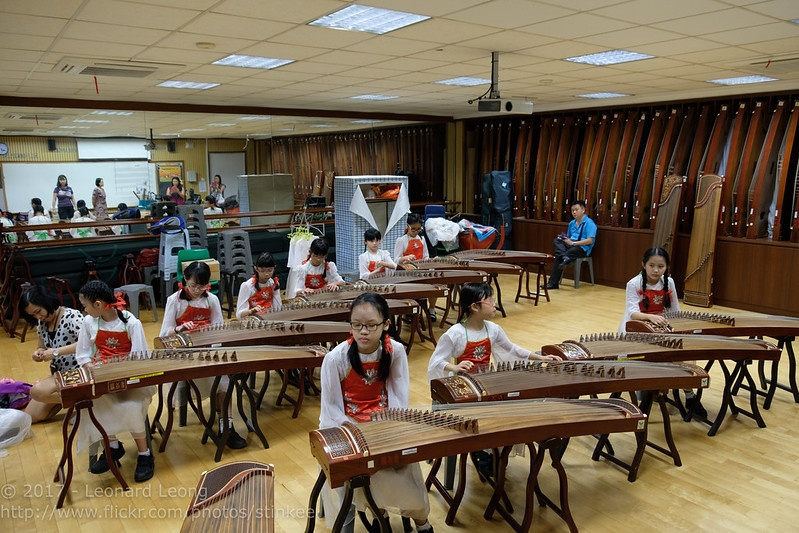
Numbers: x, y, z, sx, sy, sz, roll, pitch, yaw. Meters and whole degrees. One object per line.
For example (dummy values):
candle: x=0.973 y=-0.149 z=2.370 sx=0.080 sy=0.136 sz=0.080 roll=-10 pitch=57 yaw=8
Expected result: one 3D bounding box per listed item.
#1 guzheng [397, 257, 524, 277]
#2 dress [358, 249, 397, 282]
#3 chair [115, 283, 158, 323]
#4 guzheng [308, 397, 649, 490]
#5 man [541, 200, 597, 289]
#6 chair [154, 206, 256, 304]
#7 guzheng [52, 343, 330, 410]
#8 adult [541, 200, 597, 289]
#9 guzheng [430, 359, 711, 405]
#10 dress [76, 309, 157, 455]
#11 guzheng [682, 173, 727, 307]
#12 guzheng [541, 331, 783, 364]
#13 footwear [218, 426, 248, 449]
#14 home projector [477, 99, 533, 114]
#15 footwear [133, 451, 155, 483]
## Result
guzheng: x=0.952 y=-0.008 z=7.427 sx=1.014 sy=0.152 sz=0.576 roll=4 pitch=5 yaw=11
dress: x=-0.340 y=-0.036 z=6.924 sx=0.547 sy=0.536 sz=0.364 roll=-6 pitch=5 yaw=-34
chair: x=-3.489 y=0.475 z=6.959 sx=0.454 sy=0.473 sz=0.447 roll=-12 pitch=18 yaw=-42
guzheng: x=0.554 y=1.269 z=3.780 sx=2.479 sy=0.375 sz=0.486 roll=-6 pitch=30 yaw=-18
man: x=2.967 y=-0.368 z=9.168 sx=0.816 sy=1.510 sz=0.453 roll=-1 pitch=11 yaw=7
chair: x=-2.888 y=-0.163 z=7.622 sx=0.558 sy=1.017 sz=1.503 roll=-3 pitch=11 yaw=-39
guzheng: x=-1.744 y=0.856 z=4.425 sx=1.944 sy=0.282 sz=0.334 roll=-5 pitch=11 yaw=-17
adult: x=2.971 y=-0.369 z=9.170 sx=0.805 sy=1.510 sz=0.462 roll=0 pitch=11 yaw=8
guzheng: x=1.263 y=0.887 z=4.137 sx=1.558 sy=0.199 sz=0.376 roll=-4 pitch=10 yaw=-12
dress: x=-2.502 y=0.956 z=4.526 sx=0.689 sy=0.958 sz=0.642 roll=30 pitch=27 yaw=30
guzheng: x=4.549 y=-0.335 z=8.019 sx=0.495 sy=2.019 sz=0.156 roll=4 pitch=1 yaw=-17
guzheng: x=2.391 y=0.720 z=4.710 sx=1.616 sy=0.237 sz=0.411 roll=-2 pitch=9 yaw=-11
footwear: x=-1.557 y=1.568 z=4.868 sx=0.298 sy=0.199 sz=0.110 roll=-1 pitch=2 yaw=42
home projector: x=1.329 y=-2.051 z=6.724 sx=0.266 sy=0.187 sz=0.862 roll=8 pitch=14 yaw=44
footwear: x=-2.159 y=1.687 z=4.433 sx=0.107 sy=0.126 sz=0.285 roll=-1 pitch=4 yaw=-21
